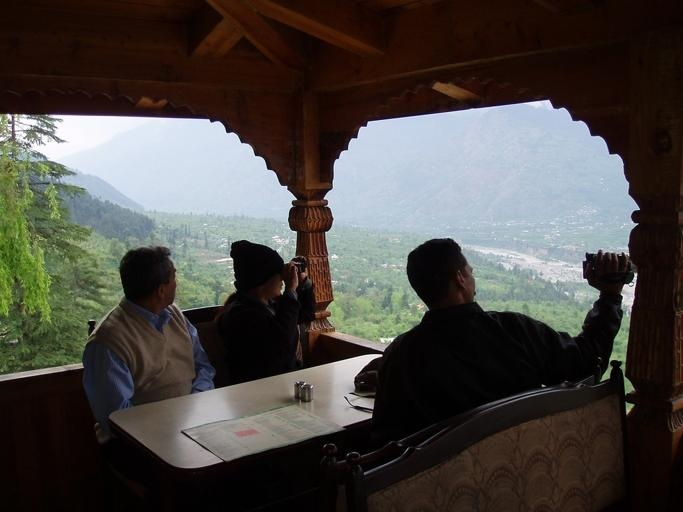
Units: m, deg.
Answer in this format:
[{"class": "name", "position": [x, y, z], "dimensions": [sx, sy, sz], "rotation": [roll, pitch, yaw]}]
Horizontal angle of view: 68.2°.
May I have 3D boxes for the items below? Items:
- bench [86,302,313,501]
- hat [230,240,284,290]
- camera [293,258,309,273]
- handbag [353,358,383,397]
[{"class": "bench", "position": [-0.937, 0.714, 2.771], "dimensions": [0.471, 0.913, 0.725], "rotation": [-11, 2, 24]}, {"class": "hat", "position": [-0.584, 0.017, 3.318], "dimensions": [0.302, 0.239, 0.239], "rotation": [16, 12, 4]}, {"class": "camera", "position": [-0.293, 0.068, 3.647], "dimensions": [0.111, 0.114, 0.083], "rotation": [-17, 15, -26]}, {"class": "handbag", "position": [0.136, 0.612, 2.692], "dimensions": [0.089, 0.192, 0.254], "rotation": [16, 16, 28]}]
